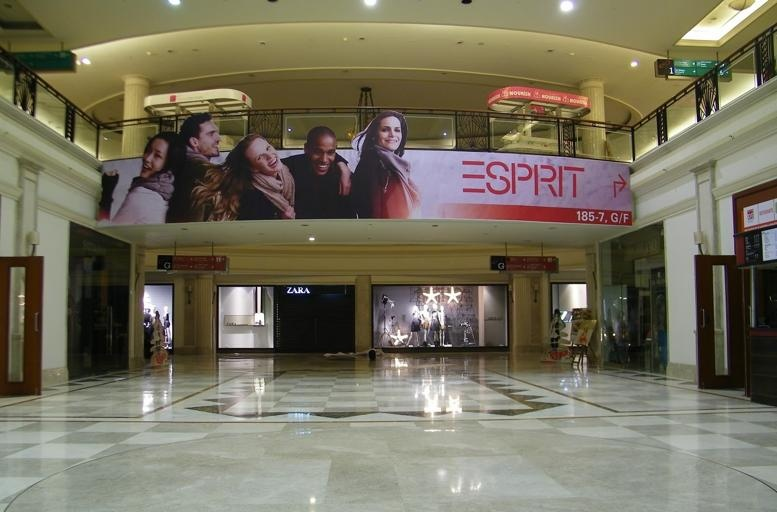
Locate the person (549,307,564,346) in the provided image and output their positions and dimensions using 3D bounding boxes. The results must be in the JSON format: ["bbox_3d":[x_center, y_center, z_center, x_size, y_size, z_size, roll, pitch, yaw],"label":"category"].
[{"bbox_3d":[5.666,2.464,18.954,0.456,1.294,1.839,-3,-8,16],"label":"person"}]

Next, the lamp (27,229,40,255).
[{"bbox_3d":[-7.104,-0.268,11.296,0.160,0.539,0.445,2,-9,-20],"label":"lamp"}]

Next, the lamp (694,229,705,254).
[{"bbox_3d":[6.338,-0.271,11.430,0.160,0.526,0.535,-4,-8,19],"label":"lamp"}]
